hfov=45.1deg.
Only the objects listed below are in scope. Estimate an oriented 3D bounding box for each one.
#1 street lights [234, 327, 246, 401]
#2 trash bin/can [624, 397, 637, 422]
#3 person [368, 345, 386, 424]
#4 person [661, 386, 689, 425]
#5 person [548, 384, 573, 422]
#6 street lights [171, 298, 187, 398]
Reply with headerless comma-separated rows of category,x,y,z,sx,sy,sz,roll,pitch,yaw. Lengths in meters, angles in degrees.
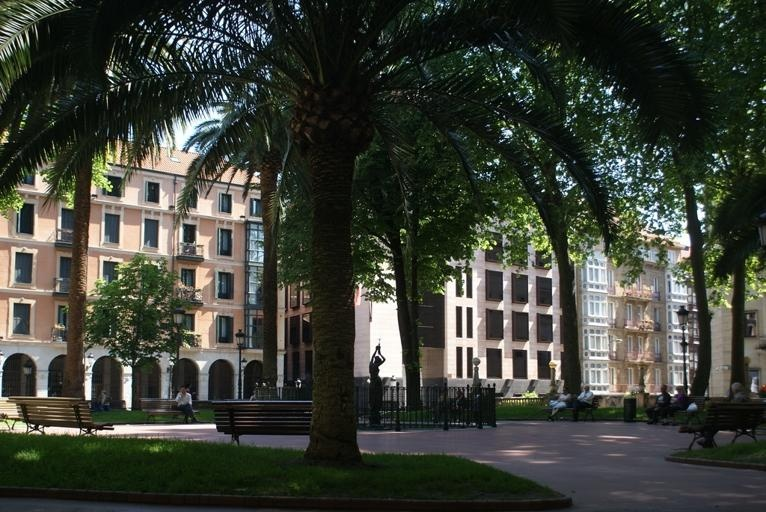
street lights,-8.590,6.744,55.756,0.797,4.173,0.753,-3,-6,18
trash bin/can,9.743,6.092,36.492,0.428,0.955,0.594,-2,-12,8
person,-0.287,4.499,32.348,0.608,2.838,0.723,-7,-14,34
person,11.402,5.902,36.091,0.787,0.864,2.014,2,-10,0
person,7.554,6.292,39.377,0.974,1.415,1.917,-2,-12,11
street lights,-10.632,4.811,47.701,1.000,4.585,0.937,1,-4,-4
